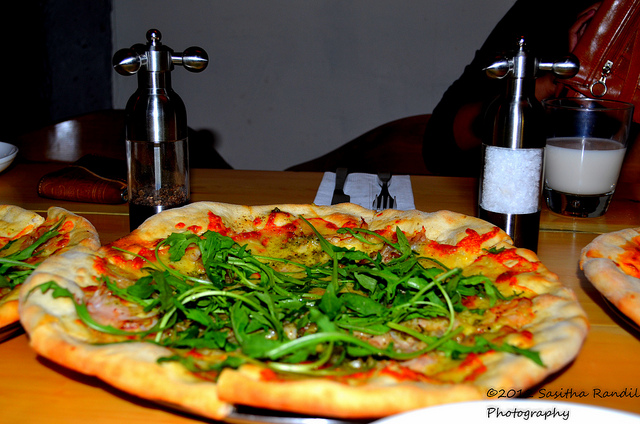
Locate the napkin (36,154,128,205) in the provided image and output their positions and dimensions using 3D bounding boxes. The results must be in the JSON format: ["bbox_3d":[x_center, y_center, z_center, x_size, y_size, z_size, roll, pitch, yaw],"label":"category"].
[{"bbox_3d":[-0.664,-0.091,1.509,0.207,0.064,0.199,6,30,3],"label":"napkin"}]

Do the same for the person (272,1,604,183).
[{"bbox_3d":[0.719,-0.585,2.750,2.511,0.909,0.751,-12,22,-34],"label":"person"}]

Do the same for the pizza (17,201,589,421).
[{"bbox_3d":[-0.010,0.133,0.930,0.900,0.247,0.586,3,6,8],"label":"pizza"}]
